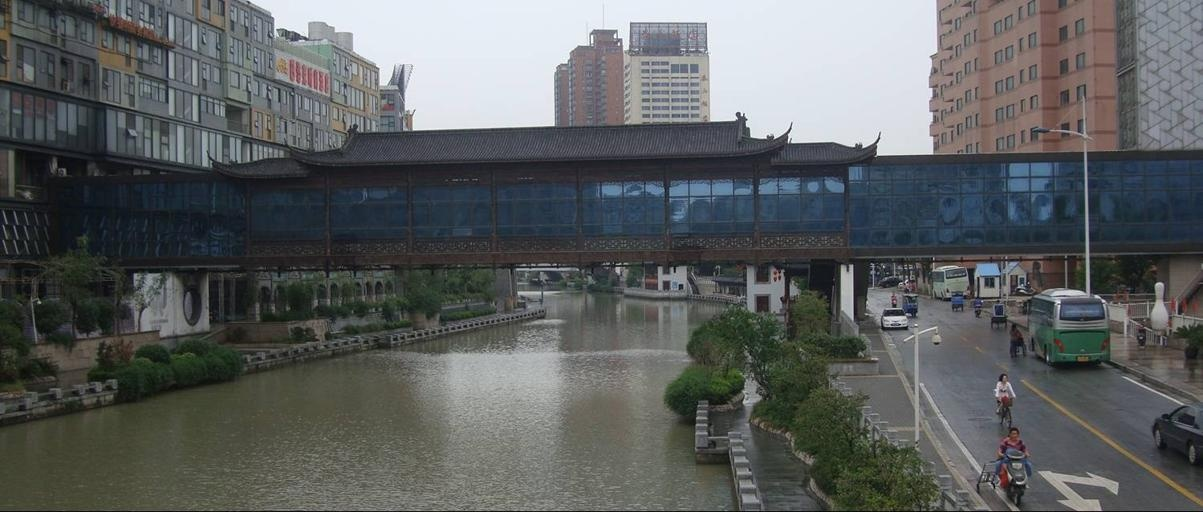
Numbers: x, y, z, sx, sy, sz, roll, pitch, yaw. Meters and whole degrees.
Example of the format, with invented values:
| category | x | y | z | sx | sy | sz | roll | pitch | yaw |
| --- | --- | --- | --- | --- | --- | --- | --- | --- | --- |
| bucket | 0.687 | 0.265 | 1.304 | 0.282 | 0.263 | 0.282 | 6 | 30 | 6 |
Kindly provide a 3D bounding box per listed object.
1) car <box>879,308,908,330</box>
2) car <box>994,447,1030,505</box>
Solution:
| category | x | y | z | sx | sy | sz | roll | pitch | yaw |
| --- | --- | --- | --- | --- | --- | --- | --- | --- | --- |
| car | 40.671 | 8.783 | 152.834 | 4.093 | 2.930 | 2.836 | -4 | 2 | 2 |
| car | 43.586 | 23.423 | 116.433 | 3.064 | 6.201 | 1.116 | -4 | 3 | 18 |
